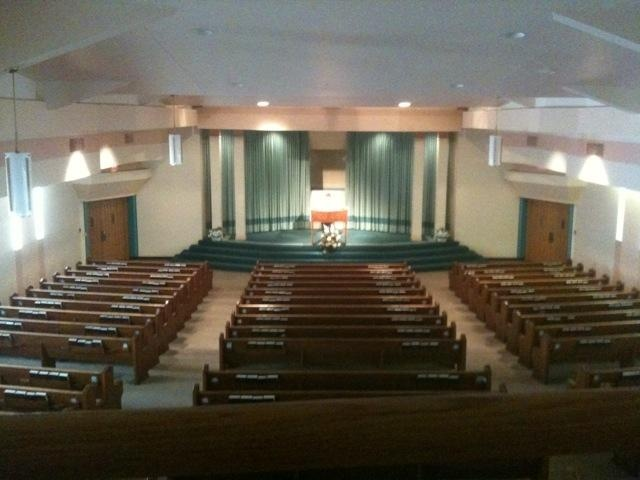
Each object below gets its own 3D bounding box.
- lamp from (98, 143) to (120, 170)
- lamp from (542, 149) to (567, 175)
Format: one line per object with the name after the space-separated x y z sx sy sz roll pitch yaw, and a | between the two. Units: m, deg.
-4.688 -1.798 10.821 0.117 0.461 0.510 6 4 16 | lamp
4.851 -1.598 10.093 0.359 0.437 0.478 0 3 5 | lamp
